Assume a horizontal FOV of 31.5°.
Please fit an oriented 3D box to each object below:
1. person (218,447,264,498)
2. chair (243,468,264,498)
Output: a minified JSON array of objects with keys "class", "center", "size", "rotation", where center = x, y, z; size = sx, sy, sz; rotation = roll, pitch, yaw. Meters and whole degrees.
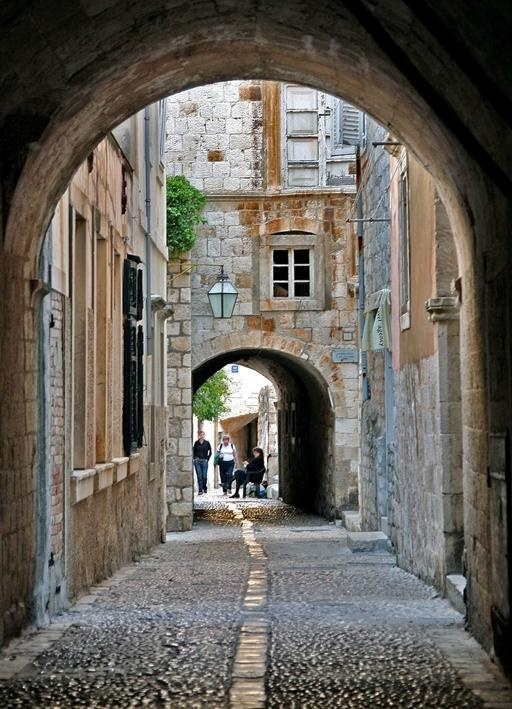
[{"class":"person","center":[-0.267,3.864,28.768],"size":[0.862,2.003,0.804],"rotation":[14,-32,-3]},{"class":"chair","center":[-0.058,4.016,28.948],"size":[0.716,1.427,0.937],"rotation":[2,-6,-6]}]
